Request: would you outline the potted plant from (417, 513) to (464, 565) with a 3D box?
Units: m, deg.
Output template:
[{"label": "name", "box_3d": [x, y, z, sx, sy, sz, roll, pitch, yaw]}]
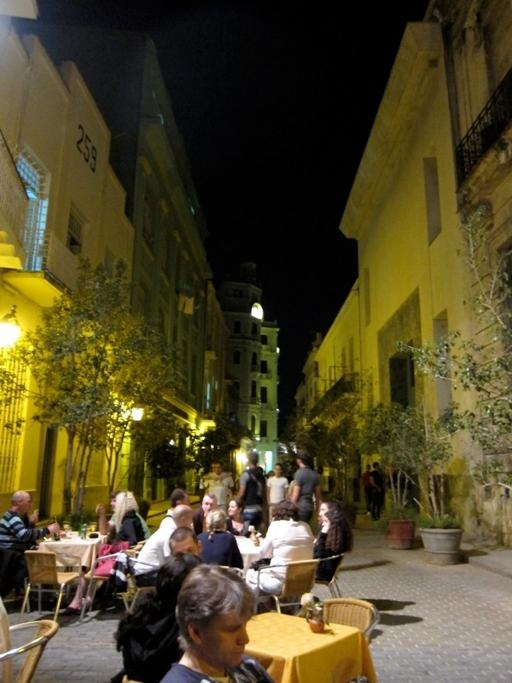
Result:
[{"label": "potted plant", "box_3d": [4.054, 4.466, 10.771, 1.011, 0.813, 1.024, -10, -22, 42]}]

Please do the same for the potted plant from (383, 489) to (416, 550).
[{"label": "potted plant", "box_3d": [3.883, 4.792, 13.103, 0.721, 1.407, 0.718, 10, -22, -20]}]
